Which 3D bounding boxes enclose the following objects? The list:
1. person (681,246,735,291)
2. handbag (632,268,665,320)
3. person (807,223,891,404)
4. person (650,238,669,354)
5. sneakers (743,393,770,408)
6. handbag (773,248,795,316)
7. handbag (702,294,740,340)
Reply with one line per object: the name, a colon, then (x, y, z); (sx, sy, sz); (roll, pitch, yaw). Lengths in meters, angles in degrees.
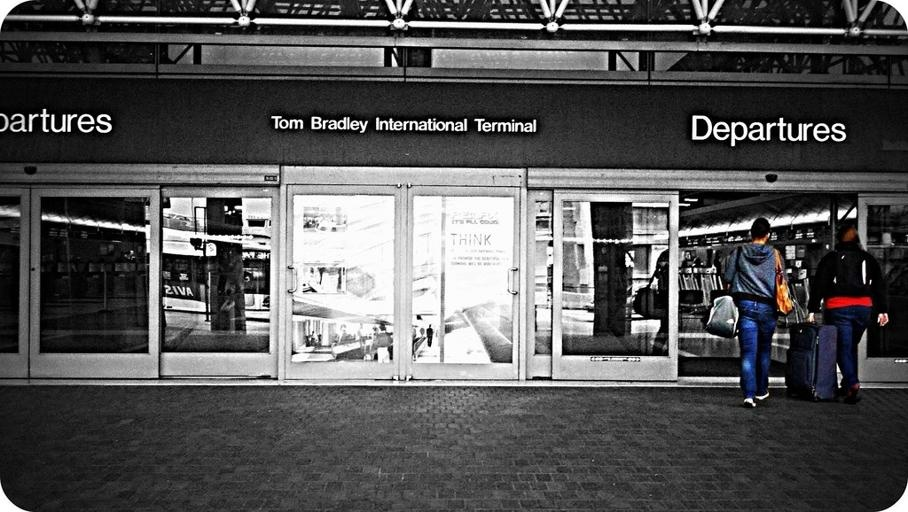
person: (7.607, 0.311, 25.005); (1.407, 0.529, 2.373); (3, 7, 32)
handbag: (3.903, 0.798, 16.302); (0.648, 0.887, 0.220); (2, -1, 27)
person: (7.355, 1.077, 15.367); (1.272, 3.239, 0.559); (1, 4, 27)
person: (4.101, 0.915, 16.278); (0.291, 2.077, 0.211); (0, 4, 13)
sneakers: (5.604, 2.671, 15.241); (0.204, 0.250, 0.610); (-2, -3, 35)
handbag: (6.119, 0.490, 15.264); (0.322, 1.243, 0.502); (1, 4, 23)
handbag: (4.934, 1.098, 15.139); (0.596, 0.737, 0.291); (0, 4, 16)
